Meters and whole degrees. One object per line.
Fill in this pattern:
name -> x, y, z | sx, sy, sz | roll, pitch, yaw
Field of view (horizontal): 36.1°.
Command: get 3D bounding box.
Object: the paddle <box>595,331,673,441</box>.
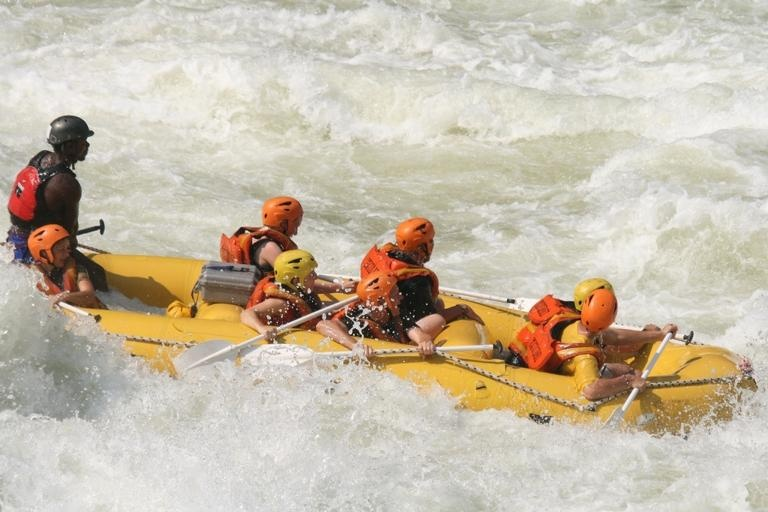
paddle -> 3.276, 1.744, 15.459 | 0.278, 0.147, 1.951 | 37, 63, 19

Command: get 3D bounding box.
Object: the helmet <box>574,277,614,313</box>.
helmet -> 2.831, 0.496, 15.675 | 0.553, 0.372, 0.384 | -9, 5, -14

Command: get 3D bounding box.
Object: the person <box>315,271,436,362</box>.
person -> -0.053, 0.840, 15.627 | 1.510, 0.639, 1.064 | -15, 37, -31

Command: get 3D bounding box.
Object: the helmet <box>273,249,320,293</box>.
helmet -> -1.218, 0.190, 15.682 | 0.624, 0.507, 0.433 | -9, 24, -5

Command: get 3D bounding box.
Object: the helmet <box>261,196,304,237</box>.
helmet -> -1.403, -0.585, 16.530 | 0.634, 0.523, 0.485 | -11, 22, -30

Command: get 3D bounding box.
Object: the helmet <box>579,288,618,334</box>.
helmet -> 2.797, 0.721, 15.363 | 0.367, 0.571, 0.394 | -13, 39, -38

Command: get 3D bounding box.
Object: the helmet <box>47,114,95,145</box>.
helmet -> -4.409, -1.746, 16.383 | 0.568, 0.244, 0.402 | -10, 16, -22

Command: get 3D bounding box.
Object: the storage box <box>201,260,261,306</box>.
storage box -> -2.156, 0.344, 16.094 | 0.797, 0.362, 0.498 | 6, 34, -3

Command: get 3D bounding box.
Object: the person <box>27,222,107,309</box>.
person -> -4.428, 0.152, 15.979 | 0.687, 0.556, 1.350 | -32, 86, -34
